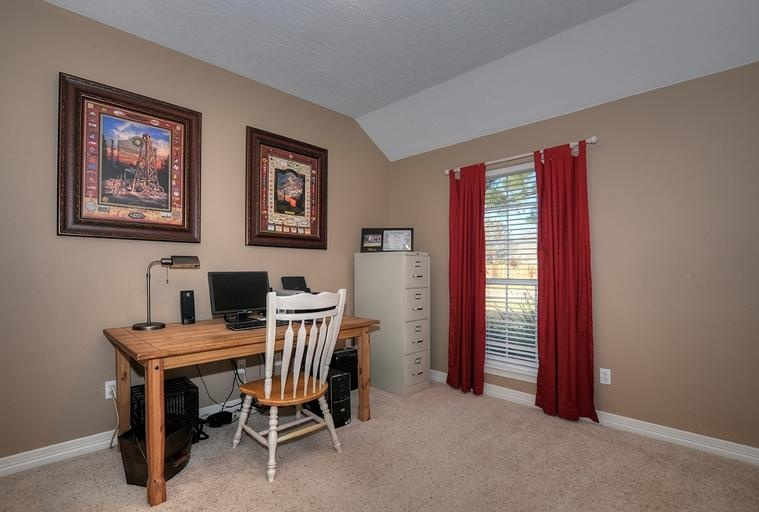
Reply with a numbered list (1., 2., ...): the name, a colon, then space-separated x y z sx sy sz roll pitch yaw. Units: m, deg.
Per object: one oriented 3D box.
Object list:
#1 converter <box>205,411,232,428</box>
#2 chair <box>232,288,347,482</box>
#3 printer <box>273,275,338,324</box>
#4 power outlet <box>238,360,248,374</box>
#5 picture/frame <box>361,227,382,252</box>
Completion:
1. converter: -1.487 1.523 4.508 0.172 0.048 0.122 1 3 -12
2. chair: -0.776 1.037 4.232 0.809 1.454 0.818 0 3 -39
3. printer: -0.808 0.418 4.766 0.452 0.493 0.480 -3 -5 35
4. power outlet: -1.364 1.103 4.837 0.027 0.116 0.110 -2 -8 37
5. picture/frame: -0.082 -0.190 5.599 0.249 0.246 0.135 2 2 12
